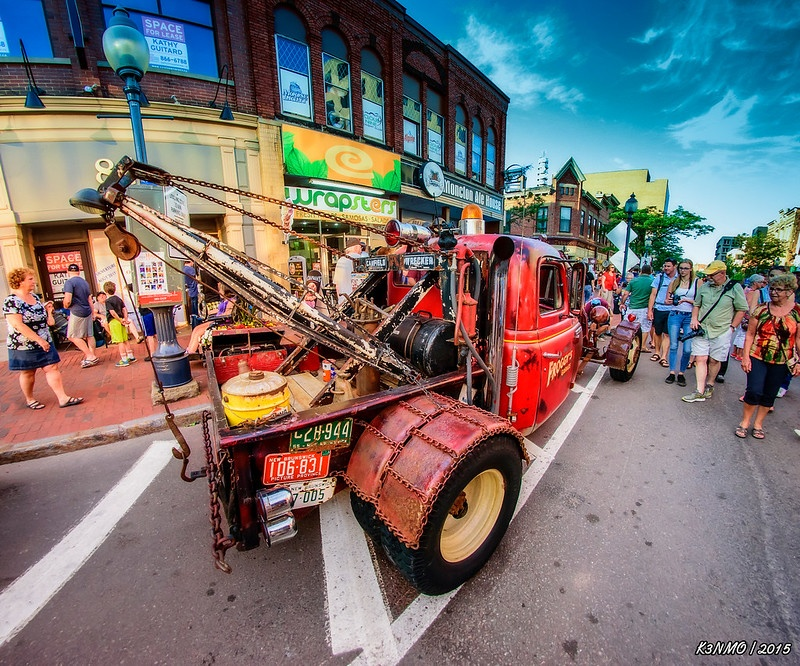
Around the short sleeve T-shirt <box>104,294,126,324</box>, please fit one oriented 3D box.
[{"bbox_3d":[-5.346,-0.421,8.879,0.250,0.642,0.479,4,7,8],"label":"short sleeve T-shirt"}]

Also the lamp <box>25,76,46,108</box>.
[{"bbox_3d":[-7.005,-4.483,9.007,0.337,0.502,0.307,14,20,36],"label":"lamp"}]

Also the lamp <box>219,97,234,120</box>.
[{"bbox_3d":[-3.889,-4.947,10.648,0.242,0.436,0.430,3,16,5],"label":"lamp"}]

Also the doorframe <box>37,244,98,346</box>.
[{"bbox_3d":[-7.267,-0.738,10.423,0.958,2.516,0.178,-11,-9,-30],"label":"doorframe"}]

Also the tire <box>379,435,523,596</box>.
[{"bbox_3d":[0.500,1.485,4.150,1.421,1.547,0.511,-11,23,-38],"label":"tire"}]

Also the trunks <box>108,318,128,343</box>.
[{"bbox_3d":[-5.204,-0.040,8.739,0.305,0.431,0.223,-10,24,-4],"label":"trunks"}]

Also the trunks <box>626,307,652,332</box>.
[{"bbox_3d":[4.371,-0.242,8.630,0.424,0.580,0.307,5,14,34],"label":"trunks"}]

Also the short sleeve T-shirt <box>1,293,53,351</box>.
[{"bbox_3d":[-4.977,-0.102,6.295,0.469,0.781,0.321,-12,21,-39],"label":"short sleeve T-shirt"}]

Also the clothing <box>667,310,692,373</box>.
[{"bbox_3d":[4.736,0.183,7.963,0.408,1.093,0.341,3,-1,39],"label":"clothing"}]

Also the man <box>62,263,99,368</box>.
[{"bbox_3d":[-5.842,-0.299,8.558,0.529,1.791,0.523,-2,6,14],"label":"man"}]

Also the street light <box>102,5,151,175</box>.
[{"bbox_3d":[-3.637,-3.334,6.396,0.534,1.988,0.978,-8,19,-29],"label":"street light"}]

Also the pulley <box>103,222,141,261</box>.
[{"bbox_3d":[-2.336,-0.748,3.997,0.241,0.317,0.275,-5,18,-24],"label":"pulley"}]

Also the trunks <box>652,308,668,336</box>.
[{"bbox_3d":[4.902,-0.203,8.861,0.323,0.521,0.268,-12,10,-1],"label":"trunks"}]

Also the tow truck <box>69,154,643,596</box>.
[{"bbox_3d":[0.406,0.342,5.318,5.289,2.962,3.296,-13,19,-43],"label":"tow truck"}]

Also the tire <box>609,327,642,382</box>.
[{"bbox_3d":[3.706,0.374,7.746,0.307,0.822,0.756,5,10,38],"label":"tire"}]
